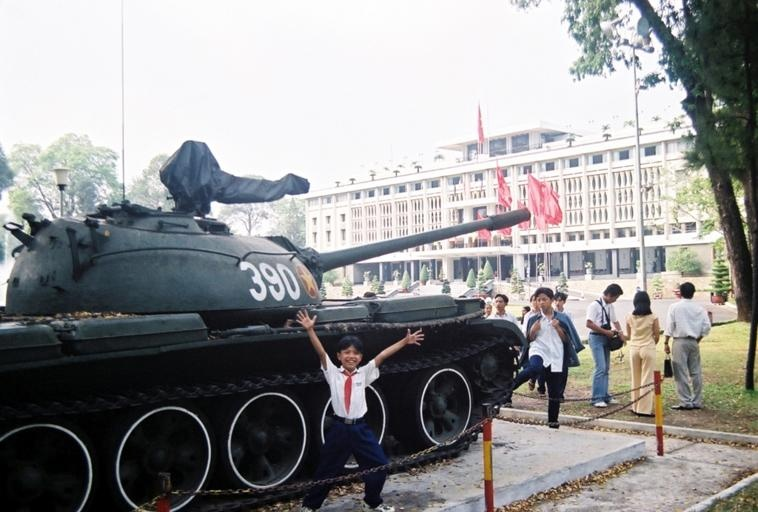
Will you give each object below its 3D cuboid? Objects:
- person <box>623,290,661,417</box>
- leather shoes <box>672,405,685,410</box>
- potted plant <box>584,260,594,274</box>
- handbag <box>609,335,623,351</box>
[{"bbox_3d":[5.068,1.898,13.467,0.650,2.298,1.476,-6,0,18],"label":"person"},{"bbox_3d":[5.932,3.007,13.895,0.212,0.091,0.078,-6,-8,25],"label":"leather shoes"},{"bbox_3d":[22.511,1.158,74.692,1.465,1.440,1.266,0,-5,-1],"label":"potted plant"},{"bbox_3d":[4.693,1.725,14.079,0.277,0.331,0.343,9,6,27],"label":"handbag"}]
